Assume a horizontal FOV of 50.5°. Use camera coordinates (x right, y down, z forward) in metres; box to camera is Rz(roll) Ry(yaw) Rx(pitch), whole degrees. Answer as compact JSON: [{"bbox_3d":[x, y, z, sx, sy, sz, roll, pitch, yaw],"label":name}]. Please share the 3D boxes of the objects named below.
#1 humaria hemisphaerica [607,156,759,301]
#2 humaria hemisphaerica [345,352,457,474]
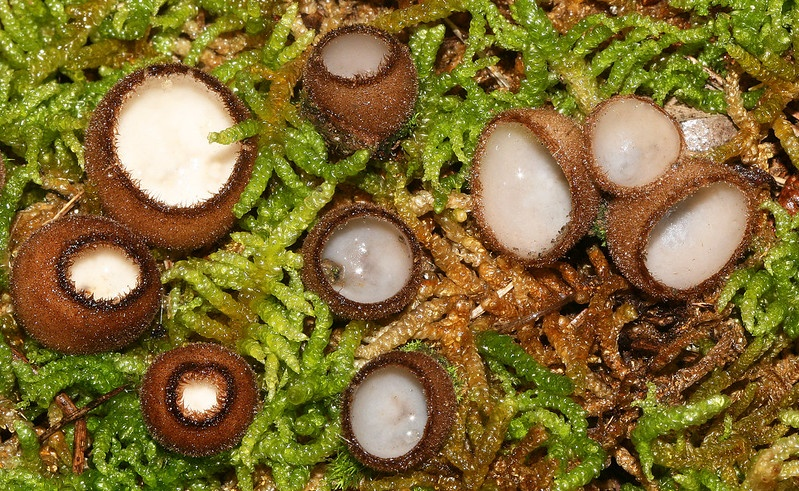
[{"bbox_3d":[0.993,-0.082,3.198,0.481,0.502,0.308,46,9,-11],"label":"humaria hemisphaerica"},{"bbox_3d":[-0.003,0.585,2.963,0.405,0.420,0.165,-10,2,7],"label":"humaria hemisphaerica"}]
